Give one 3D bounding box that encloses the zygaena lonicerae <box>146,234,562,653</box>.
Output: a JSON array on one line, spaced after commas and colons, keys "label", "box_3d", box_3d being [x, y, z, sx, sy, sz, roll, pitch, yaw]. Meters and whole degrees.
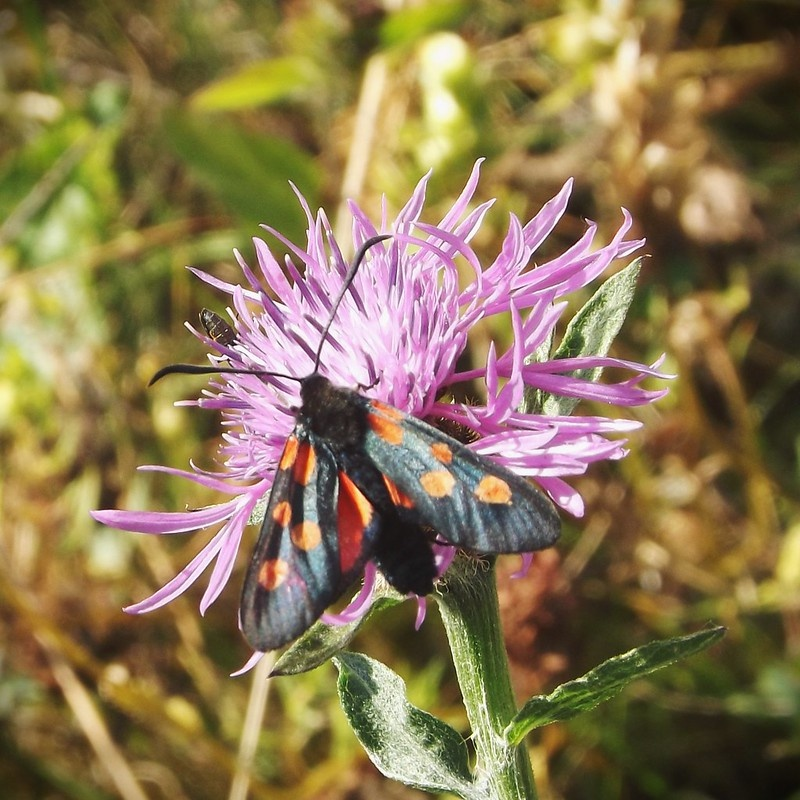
[{"label": "zygaena lonicerae", "box_3d": [-0.119, 0.032, 1.797, 0.667, 0.212, 0.636, -20, 85, 19]}]
